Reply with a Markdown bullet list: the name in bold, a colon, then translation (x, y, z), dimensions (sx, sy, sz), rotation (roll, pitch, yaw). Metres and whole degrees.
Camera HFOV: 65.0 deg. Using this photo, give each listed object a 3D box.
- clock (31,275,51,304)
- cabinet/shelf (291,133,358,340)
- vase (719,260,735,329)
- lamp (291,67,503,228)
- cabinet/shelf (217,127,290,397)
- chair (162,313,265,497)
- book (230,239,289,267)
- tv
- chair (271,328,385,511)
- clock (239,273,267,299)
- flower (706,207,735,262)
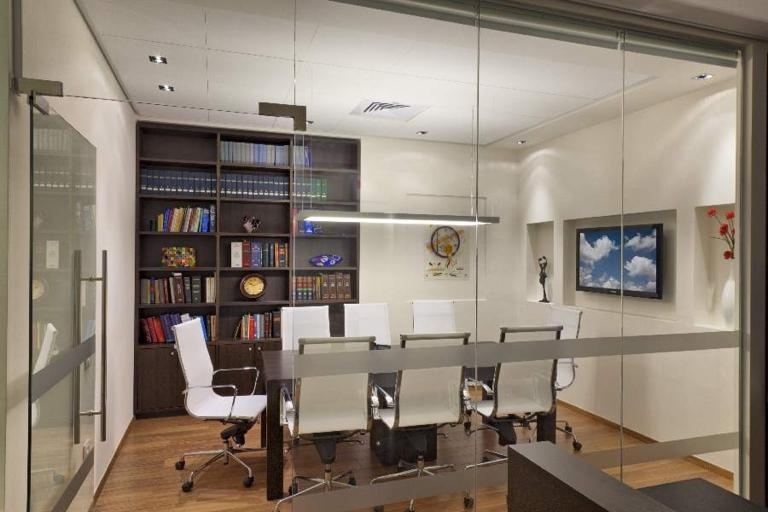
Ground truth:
- **clock**: translation (-1.870, 0.178, 3.269), dimensions (0.017, 0.106, 0.105), rotation (0, -19, 23)
- **cabinet/shelf**: translation (-0.348, -0.254, 3.533), dimensions (0.355, 1.116, 0.108), rotation (0, -6, -10)
- **vase**: translation (2.311, 0.258, 4.062), dimensions (0.123, 0.441, 0.061), rotation (-3, 11, -21)
- **lamp**: translation (-0.128, -0.478, 3.427), dimensions (1.731, 0.703, 0.522), rotation (2, -1, -8)
- **cabinet/shelf**: translation (-1.302, -0.503, 6.076), dimensions (0.739, 2.105, 0.223), rotation (0, -15, -10)
- **chair**: translation (-1.341, 1.048, 4.951), dimensions (0.693, 1.115, 1.388), rotation (-1, 10, -11)
- **book**: translation (-1.248, -0.012, 6.033), dimensions (0.567, 0.247, 0.148), rotation (-1, 10, -9)
- **tv**: translation (1.509, 0.056, 3.939), dimensions (0.466, 0.406, 0.035), rotation (3, -3, -4)
- **chair**: translation (-0.271, 0.931, 3.852), dimensions (0.772, 1.230, 0.815), rotation (1, 0, -13)
- **clock**: translation (-1.321, 0.301, 6.035), dimensions (0.239, 0.244, 0.057), rotation (-21, 1, -25)
- **flower**: translation (2.263, -0.151, 4.054), dimensions (0.194, 0.347, 0.081), rotation (0, 10, -6)
